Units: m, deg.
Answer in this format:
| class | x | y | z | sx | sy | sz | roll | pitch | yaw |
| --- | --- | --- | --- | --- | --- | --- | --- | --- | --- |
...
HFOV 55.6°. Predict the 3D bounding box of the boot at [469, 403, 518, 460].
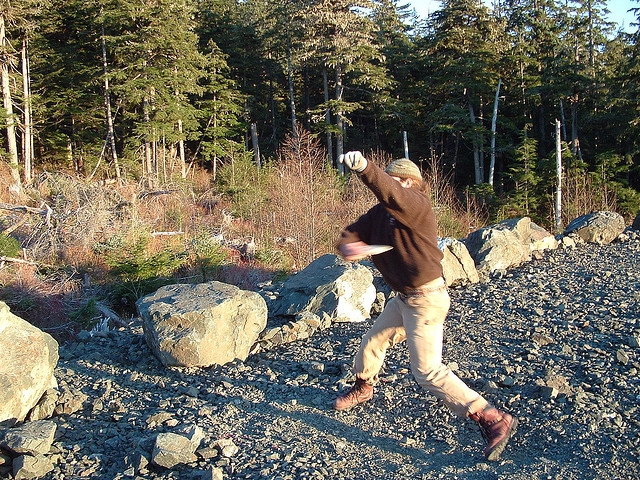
| class | x | y | z | sx | sy | sz | roll | pitch | yaw |
| --- | --- | --- | --- | --- | --- | --- | --- | --- | --- |
| boot | 2.491 | 2.497 | 8.539 | 0.306 | 0.666 | 0.676 | 39 | 47 | 24 |
